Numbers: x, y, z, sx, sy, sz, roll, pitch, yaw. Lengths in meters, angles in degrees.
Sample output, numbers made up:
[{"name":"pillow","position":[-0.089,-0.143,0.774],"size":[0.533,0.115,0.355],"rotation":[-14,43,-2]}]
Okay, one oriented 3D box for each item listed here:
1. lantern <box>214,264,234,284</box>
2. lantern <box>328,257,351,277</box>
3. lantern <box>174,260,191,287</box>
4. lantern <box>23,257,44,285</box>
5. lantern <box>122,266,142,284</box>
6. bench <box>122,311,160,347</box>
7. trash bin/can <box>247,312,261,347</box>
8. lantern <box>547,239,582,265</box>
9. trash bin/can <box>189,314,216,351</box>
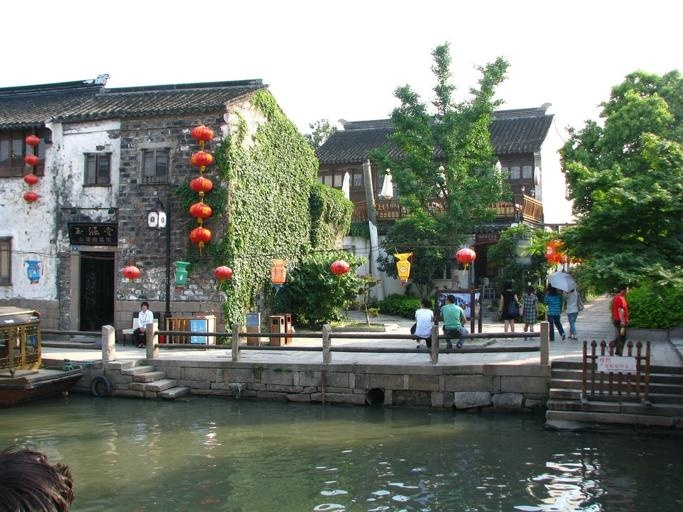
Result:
[{"name":"lantern","position":[-3.370,0.493,26.806],"size":[0.465,0.410,0.426],"rotation":[1,10,10]},{"name":"lantern","position":[-0.024,0.373,28.984],"size":[0.506,0.369,0.491],"rotation":[-1,-10,-2]},{"name":"lantern","position":[-4.622,0.471,27.160],"size":[0.404,0.734,0.600],"rotation":[1,-7,-11]},{"name":"lantern","position":[-9.234,0.475,28.411],"size":[0.733,0.869,0.541],"rotation":[7,-18,-28]},{"name":"lantern","position":[-6.141,0.523,27.111],"size":[0.525,0.429,0.493],"rotation":[-2,5,16]},{"name":"bench","position":[-5.959,2.060,26.995],"size":[0.725,0.800,0.822],"rotation":[-10,-2,-24]},{"name":"trash bin/can","position":[-2.474,1.999,25.615],"size":[0.393,0.936,0.360],"rotation":[2,-7,-24]},{"name":"lantern","position":[6.612,-0.123,28.177],"size":[0.854,0.526,0.839],"rotation":[-1,0,15]},{"name":"trash bin/can","position":[-4.052,2.121,26.475],"size":[0.713,0.774,0.720],"rotation":[1,2,11]}]
